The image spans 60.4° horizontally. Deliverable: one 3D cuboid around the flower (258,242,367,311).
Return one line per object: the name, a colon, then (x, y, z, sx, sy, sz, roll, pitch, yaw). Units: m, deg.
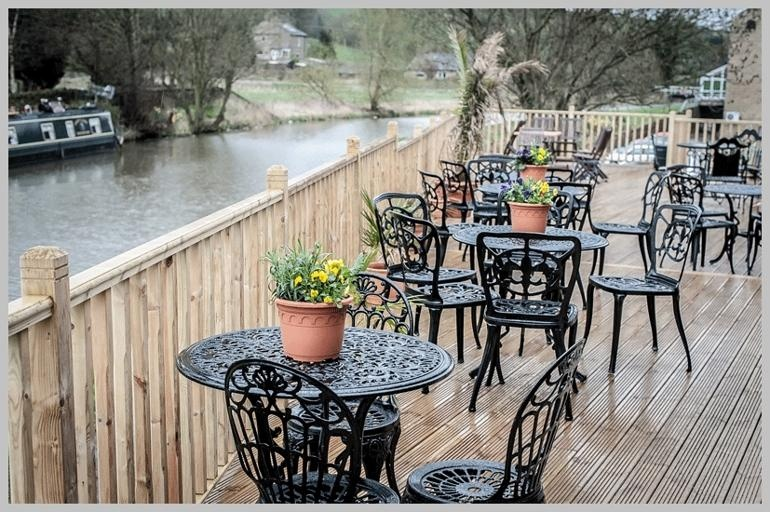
flower: (-0.302, 0.076, 2.793, 0.371, 0.290, 0.267, 1, 14, 2)

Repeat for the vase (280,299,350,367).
vase: (-0.311, 0.299, 2.792, 0.263, 0.207, 0.273, 2, 4, 15)

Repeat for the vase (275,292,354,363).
vase: (-0.318, 0.304, 2.865, 0.333, 0.257, 0.343, 1, 5, 2)
